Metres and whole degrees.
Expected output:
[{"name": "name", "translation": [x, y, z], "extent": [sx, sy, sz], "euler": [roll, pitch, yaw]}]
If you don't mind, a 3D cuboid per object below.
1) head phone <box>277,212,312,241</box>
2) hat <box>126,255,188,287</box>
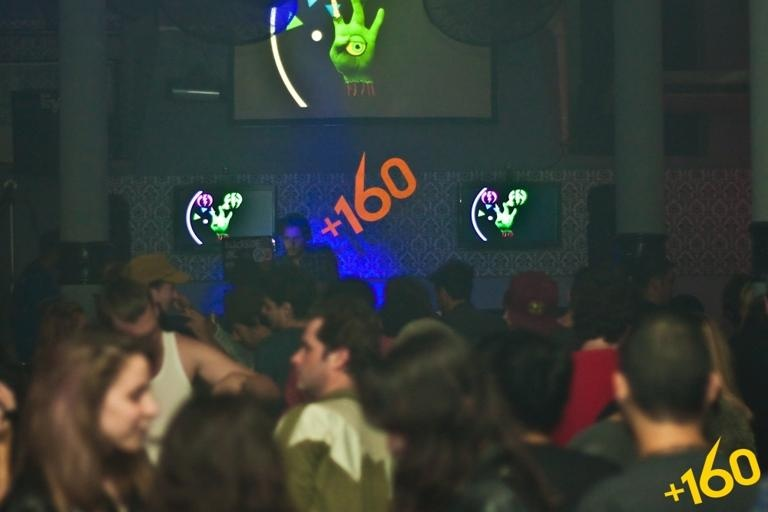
[{"name": "head phone", "translation": [-0.730, -0.243, 8.079], "extent": [0.185, 0.236, 0.243], "euler": [0, 10, 9]}, {"name": "hat", "translation": [-1.496, 0.095, 6.547], "extent": [0.311, 0.168, 0.210], "euler": [1, -2, -31]}]
